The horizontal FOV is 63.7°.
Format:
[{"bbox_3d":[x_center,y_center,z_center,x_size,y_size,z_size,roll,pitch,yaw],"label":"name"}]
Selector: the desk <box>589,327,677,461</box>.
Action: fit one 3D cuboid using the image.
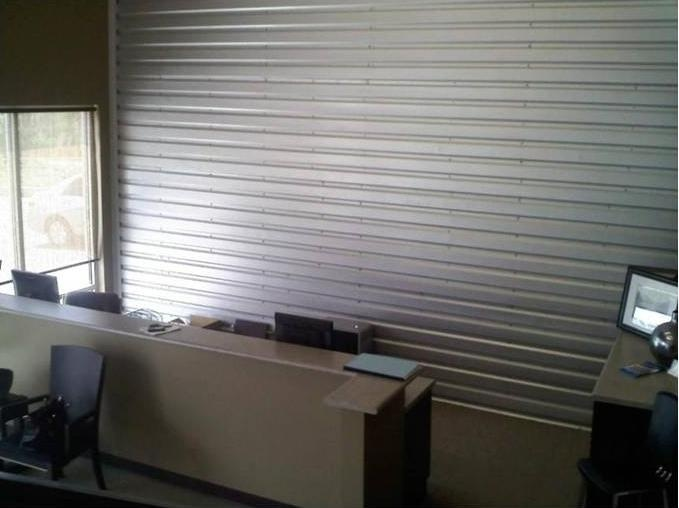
[{"bbox_3d":[1.800,0.857,3.310,0.358,0.471,1.037,4,21,22],"label":"desk"}]
